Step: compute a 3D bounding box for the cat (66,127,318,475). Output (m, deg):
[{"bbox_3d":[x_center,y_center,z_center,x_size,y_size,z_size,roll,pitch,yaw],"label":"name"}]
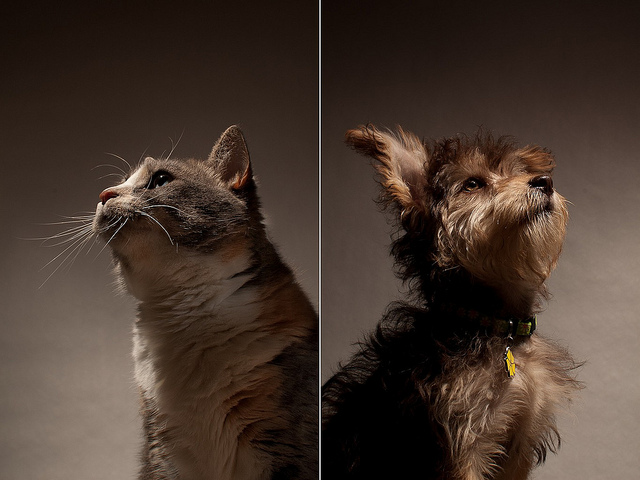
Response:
[{"bbox_3d":[-0.380,0.218,2.475,0.713,1.034,0.387,-7,-24,4],"label":"cat"}]
